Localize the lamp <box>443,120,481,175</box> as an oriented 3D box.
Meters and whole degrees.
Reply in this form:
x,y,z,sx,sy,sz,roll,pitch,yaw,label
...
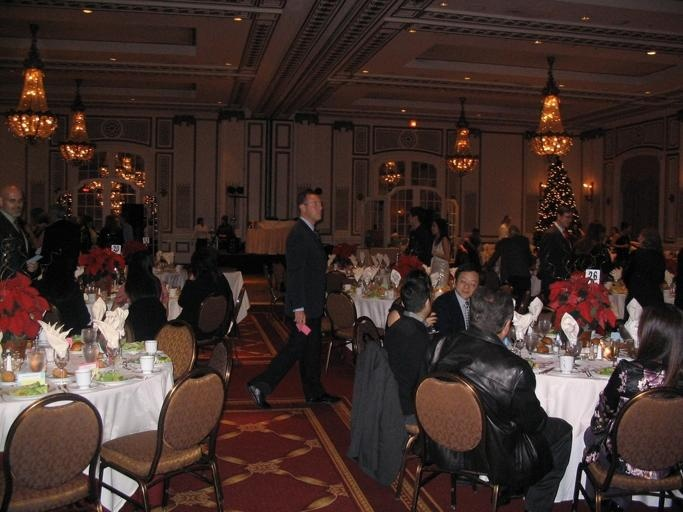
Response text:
x,y,z,sx,sy,sz,roll,pitch,yaw,label
3.103,-2.820,14.494,1.104,1.478,1.133,4,7,39,lamp

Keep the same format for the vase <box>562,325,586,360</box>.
x,y,z,sx,sy,sz,roll,pitch,yaw,label
1.730,0.639,4.238,0.159,0.303,0.071,-7,-9,-5,vase

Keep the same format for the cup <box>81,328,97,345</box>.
x,y,z,sx,sy,sz,roll,pitch,yaw,label
-1.731,0.555,3.863,0.094,0.105,0.101,0,-2,0,cup

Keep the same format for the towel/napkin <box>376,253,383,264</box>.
x,y,z,sx,sy,sz,roll,pitch,yaw,label
0.694,0.055,10.369,0.154,0.080,0.318,0,-19,4,towel/napkin

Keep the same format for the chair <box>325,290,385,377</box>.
x,y,z,sx,sy,sz,roll,pitch,yaw,label
0.124,0.922,6.901,0.567,1.024,0.627,9,7,38,chair

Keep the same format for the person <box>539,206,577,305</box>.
x,y,z,sx,sy,sz,roll,pitch,yaw,label
2.767,-0.010,7.204,0.519,0.543,1.649,5,-31,27,person

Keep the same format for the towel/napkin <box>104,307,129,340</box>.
x,y,z,sx,sy,sz,roll,pitch,yaw,label
-1.578,0.505,3.999,0.110,0.242,0.204,6,13,-41,towel/napkin

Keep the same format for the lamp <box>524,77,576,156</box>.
x,y,z,sx,sy,sz,roll,pitch,yaw,label
4.169,-2.758,11.165,0.915,1.571,0.968,-3,7,-4,lamp

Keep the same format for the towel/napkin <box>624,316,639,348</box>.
x,y,z,sx,sy,sz,roll,pitch,yaw,label
2.237,0.594,4.324,0.108,0.225,0.212,0,3,8,towel/napkin

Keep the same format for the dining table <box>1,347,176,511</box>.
x,y,z,sx,sy,sz,roll,pitch,yaw,label
-1.439,0.999,3.440,0.858,0.475,0.891,0,-6,-3,dining table

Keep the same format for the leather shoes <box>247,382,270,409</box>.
x,y,z,sx,sy,sz,roll,pitch,yaw,label
-0.815,1.367,5.511,0.205,0.275,0.313,1,1,-5,leather shoes

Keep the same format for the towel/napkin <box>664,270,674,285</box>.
x,y,z,sx,sy,sz,roll,pitch,yaw,label
4.912,0.331,8.411,0.122,0.200,0.131,11,37,40,towel/napkin

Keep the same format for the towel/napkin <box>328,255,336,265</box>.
x,y,z,sx,sy,sz,roll,pitch,yaw,label
-0.221,0.077,11.648,0.123,0.067,0.211,14,27,21,towel/napkin

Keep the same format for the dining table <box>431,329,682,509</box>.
x,y,z,sx,sy,sz,roll,pitch,yaw,label
1.329,0.897,3.646,1.281,0.923,1.299,1,-1,-6,dining table

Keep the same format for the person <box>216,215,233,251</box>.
x,y,z,sx,sy,sz,roll,pitch,yaw,label
-3.304,-0.637,15.889,0.497,1.026,0.322,1,1,-16,person

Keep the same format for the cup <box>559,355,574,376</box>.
x,y,z,sx,sy,sz,roll,pitch,yaw,label
1.581,0.764,3.937,0.090,0.122,0.116,0,-5,4,cup

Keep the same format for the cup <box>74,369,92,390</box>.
x,y,z,sx,sy,sz,roll,pitch,yaw,label
-1.655,0.770,3.577,0.094,0.131,0.123,1,1,-24,cup

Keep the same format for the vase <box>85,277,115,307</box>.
x,y,z,sx,sy,sz,roll,pitch,yaw,label
-2.726,0.409,6.266,0.256,0.317,0.269,2,-8,-13,vase

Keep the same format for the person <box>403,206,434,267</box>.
x,y,z,sx,sy,sz,roll,pitch,yaw,label
1.102,-0.287,8.089,0.354,0.855,0.724,1,1,19,person

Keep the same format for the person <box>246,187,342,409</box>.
x,y,z,sx,sy,sz,roll,pitch,yaw,label
-0.425,0.436,5.499,0.790,2.126,0.440,1,1,-1,person

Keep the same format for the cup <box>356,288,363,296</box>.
x,y,z,sx,sy,sz,roll,pitch,yaw,label
0.236,0.498,7.667,0.075,0.084,0.080,0,2,0,cup

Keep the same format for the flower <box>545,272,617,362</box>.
x,y,z,sx,sy,sz,roll,pitch,yaw,label
1.903,0.424,4.479,0.562,0.643,0.602,3,8,21,flower

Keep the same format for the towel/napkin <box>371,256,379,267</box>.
x,y,z,sx,sy,sz,roll,pitch,yaw,label
0.612,0.095,10.227,0.141,0.217,0.150,2,-2,-2,towel/napkin

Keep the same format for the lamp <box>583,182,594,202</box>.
x,y,z,sx,sy,sz,roll,pitch,yaw,label
7.704,-2.016,17.546,0.120,0.630,0.422,1,1,-19,lamp

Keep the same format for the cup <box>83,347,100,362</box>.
x,y,z,sx,sy,sz,roll,pitch,yaw,label
-1.684,0.660,3.766,0.091,0.117,0.097,0,2,0,cup

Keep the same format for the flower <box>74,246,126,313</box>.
x,y,z,sx,sy,sz,roll,pitch,yaw,label
-3.007,0.180,7.010,0.575,0.613,0.544,14,20,41,flower

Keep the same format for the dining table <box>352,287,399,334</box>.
x,y,z,sx,sy,sz,roll,pitch,yaw,label
0.406,0.699,7.293,0.457,0.675,0.449,3,-8,-12,dining table

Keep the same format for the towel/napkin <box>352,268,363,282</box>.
x,y,z,sx,sy,sz,roll,pitch,yaw,label
0.230,0.283,8.295,0.138,0.237,0.052,3,-1,7,towel/napkin

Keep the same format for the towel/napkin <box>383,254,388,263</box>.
x,y,z,sx,sy,sz,roll,pitch,yaw,label
0.791,0.066,10.197,0.076,0.147,0.188,1,1,4,towel/napkin

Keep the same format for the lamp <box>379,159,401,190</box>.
x,y,z,sx,sy,sz,roll,pitch,yaw,label
1.519,-2.488,17.301,0.749,0.869,0.173,1,1,-23,lamp

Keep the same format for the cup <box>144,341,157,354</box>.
x,y,z,sx,sy,sz,roll,pitch,yaw,label
-1.446,0.682,4.191,0.089,0.085,0.084,-5,-4,0,cup

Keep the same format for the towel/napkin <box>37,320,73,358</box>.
x,y,z,sx,sy,sz,roll,pitch,yaw,label
-2.007,0.584,3.894,0.254,0.196,0.125,-13,-24,-49,towel/napkin

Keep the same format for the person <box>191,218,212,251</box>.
x,y,z,sx,sy,sz,roll,pitch,yaw,label
-4.065,-0.696,16.280,0.483,0.874,0.802,1,1,-14,person

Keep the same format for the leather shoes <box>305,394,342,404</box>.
x,y,z,sx,sy,sz,roll,pitch,yaw,label
-0.196,1.444,5.700,0.355,0.160,0.134,-1,-7,0,leather shoes

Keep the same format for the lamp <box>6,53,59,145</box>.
x,y,z,sx,sy,sz,roll,pitch,yaw,label
-5.698,-2.986,10.260,0.755,1.816,3.515,0,1,-31,lamp

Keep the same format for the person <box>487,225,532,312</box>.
x,y,z,sx,sy,sz,roll,pitch,yaw,label
2.731,0.286,8.951,0.665,1.590,0.544,1,-18,15,person

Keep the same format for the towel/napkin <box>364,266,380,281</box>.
x,y,z,sx,sy,sz,roll,pitch,yaw,label
0.407,0.265,8.017,0.146,0.192,0.450,1,1,12,towel/napkin

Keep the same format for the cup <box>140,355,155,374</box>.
x,y,z,sx,sy,sz,roll,pitch,yaw,label
-1.362,0.766,3.919,0.088,0.106,0.113,0,-5,-3,cup
